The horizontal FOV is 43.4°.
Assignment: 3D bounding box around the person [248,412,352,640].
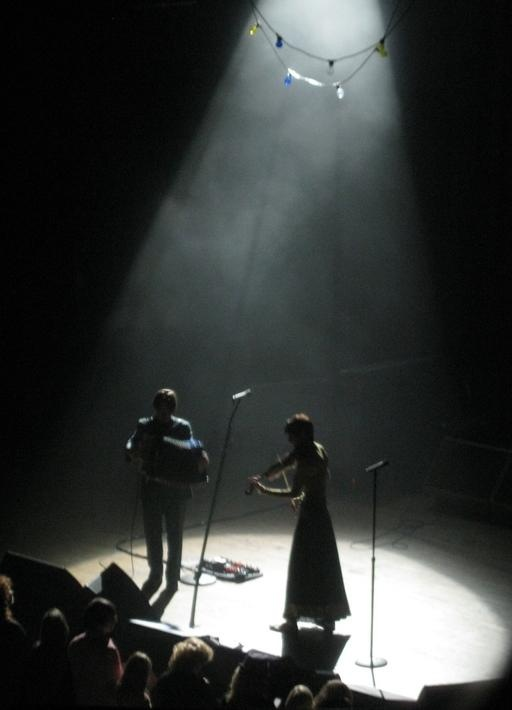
[{"bbox_3d":[0.291,1.040,3.927,0.467,1.291,0.346,0,-4,-11],"label":"person"}]
